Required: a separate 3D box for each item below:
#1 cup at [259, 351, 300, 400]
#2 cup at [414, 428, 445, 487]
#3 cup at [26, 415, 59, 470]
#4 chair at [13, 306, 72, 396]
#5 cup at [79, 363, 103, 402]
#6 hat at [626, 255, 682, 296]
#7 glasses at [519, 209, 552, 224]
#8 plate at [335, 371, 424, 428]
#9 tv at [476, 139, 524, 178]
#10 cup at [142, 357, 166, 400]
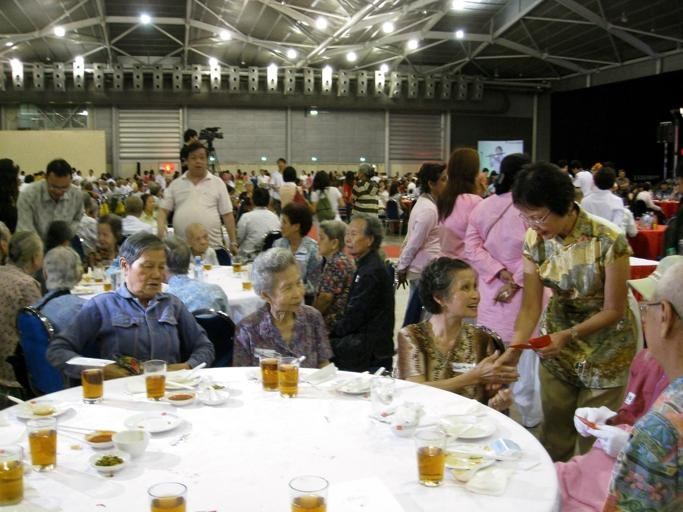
[{"bbox_3d":[-0.243,0.451,2.053,0.103,0.117,0.163,1,-4,-6],"label":"cup"},{"bbox_3d":[0.231,0.543,1.455,0.085,0.132,0.087,2,-17,1],"label":"cup"},{"bbox_3d":[-0.823,0.526,1.504,0.082,0.130,0.082,-7,-8,-1],"label":"cup"},{"bbox_3d":[-1.451,0.491,2.688,0.330,0.478,0.348,-3,-10,-21],"label":"chair"},{"bbox_3d":[-0.885,0.458,1.945,0.108,0.121,0.109,-2,-7,0],"label":"cup"},{"bbox_3d":[0.849,0.059,1.468,0.156,0.084,0.100,6,1,-10],"label":"hat"},{"bbox_3d":[0.789,-0.155,2.248,0.063,0.061,0.121,-6,12,-30],"label":"glasses"},{"bbox_3d":[0.140,0.502,1.834,0.156,0.060,0.212,-18,28,-40],"label":"plate"},{"bbox_3d":[6.558,-4.105,22.510,1.891,1.402,0.031,1,-3,-1],"label":"tv"},{"bbox_3d":[-0.680,0.460,1.991,0.080,0.123,0.080,-3,-7,0],"label":"cup"}]
